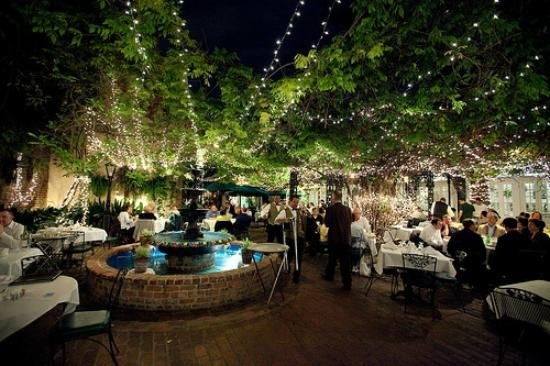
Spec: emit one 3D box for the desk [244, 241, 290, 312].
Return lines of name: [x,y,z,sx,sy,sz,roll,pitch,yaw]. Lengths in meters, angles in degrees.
desk: [-0.338,2.173,8.472,0.889,1.075,0.896,-5,-11,-30]
